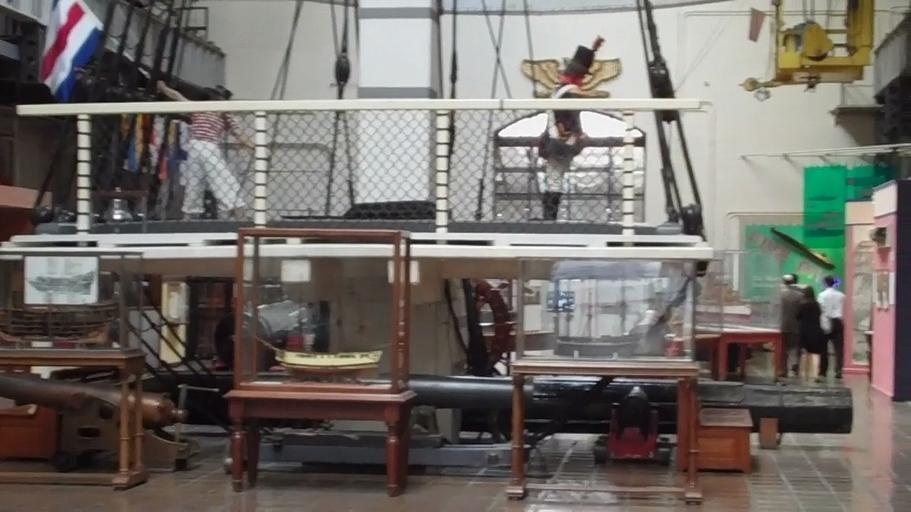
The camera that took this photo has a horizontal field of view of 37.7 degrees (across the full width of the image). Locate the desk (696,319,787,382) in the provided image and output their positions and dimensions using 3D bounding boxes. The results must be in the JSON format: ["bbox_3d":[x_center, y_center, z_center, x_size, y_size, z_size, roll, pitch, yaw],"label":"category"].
[{"bbox_3d":[5.015,1.853,23.269,1.175,0.714,1.565,-1,-1,10],"label":"desk"}]

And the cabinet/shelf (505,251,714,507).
[{"bbox_3d":[2.241,1.830,19.414,3.979,4.031,2.353,0,-6,6],"label":"cabinet/shelf"}]
